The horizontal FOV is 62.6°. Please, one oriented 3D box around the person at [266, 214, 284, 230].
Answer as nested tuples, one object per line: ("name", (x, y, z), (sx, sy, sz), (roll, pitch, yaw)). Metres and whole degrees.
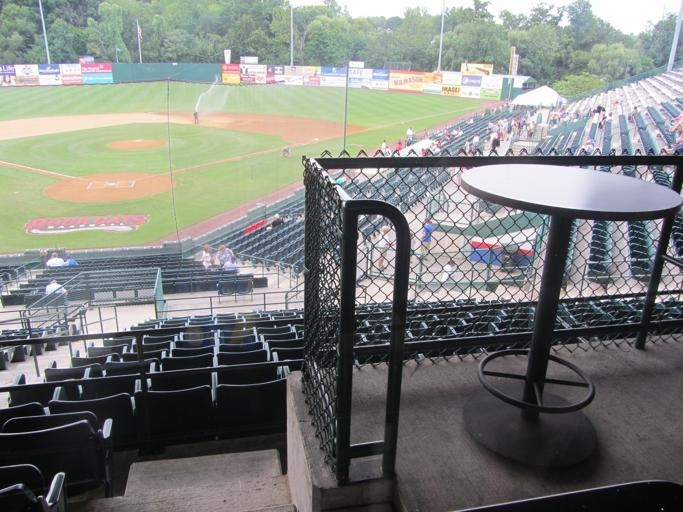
("person", (-2.127, -1.091, 17.961), (0.257, 0.712, 0.240), (23, 34, -35))
